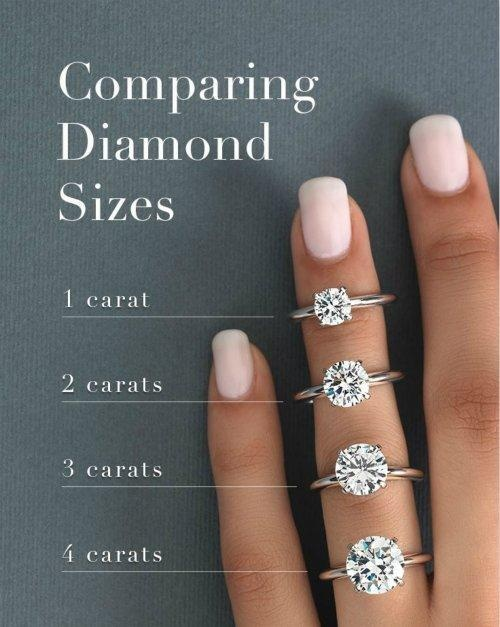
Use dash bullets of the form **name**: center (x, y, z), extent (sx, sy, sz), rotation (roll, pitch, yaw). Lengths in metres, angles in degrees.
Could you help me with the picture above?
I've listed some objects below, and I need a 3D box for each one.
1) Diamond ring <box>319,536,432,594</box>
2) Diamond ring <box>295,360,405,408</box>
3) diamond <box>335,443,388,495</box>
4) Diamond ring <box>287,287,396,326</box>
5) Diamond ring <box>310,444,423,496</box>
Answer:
- **Diamond ring**: center (0.130, 0.263, 0.810), extent (0.133, 0.137, 0.053), rotation (-7, 80, 8)
- **Diamond ring**: center (0.111, 0.077, 0.910), extent (0.124, 0.124, 0.047), rotation (-11, 82, 10)
- **diamond**: center (0.120, 0.165, 0.826), extent (0.055, 0.015, 0.052), rotation (4, 85, 0)
- **Diamond ring**: center (0.091, -0.001, 0.919), extent (0.115, 0.129, 0.041), rotation (-12, 85, 27)
- **Diamond ring**: center (0.120, 0.168, 0.828), extent (0.134, 0.141, 0.050), rotation (-6, 80, 17)
